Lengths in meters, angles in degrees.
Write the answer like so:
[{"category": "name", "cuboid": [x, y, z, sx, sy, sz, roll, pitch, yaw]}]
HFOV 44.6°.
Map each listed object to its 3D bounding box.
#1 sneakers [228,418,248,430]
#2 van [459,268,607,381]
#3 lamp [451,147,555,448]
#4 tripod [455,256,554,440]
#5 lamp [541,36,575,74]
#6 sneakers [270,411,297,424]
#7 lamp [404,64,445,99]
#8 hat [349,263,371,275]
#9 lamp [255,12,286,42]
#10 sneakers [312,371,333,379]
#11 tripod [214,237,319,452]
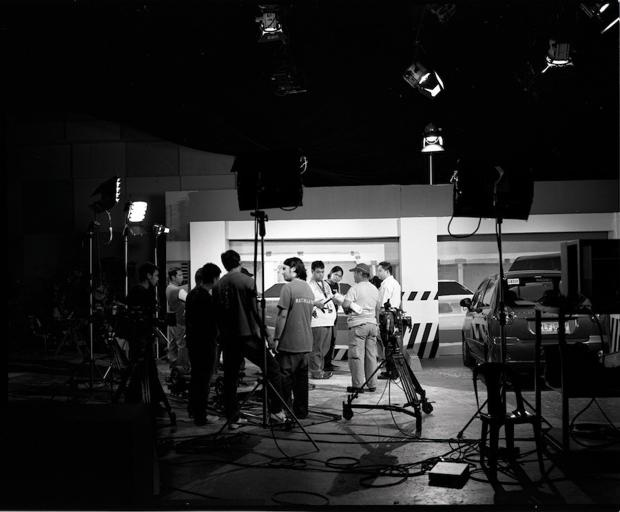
[{"category": "sneakers", "cuboid": [-0.925, 2.107, 9.556, 0.112, 0.148, 0.320, 7, 7, 28]}, {"category": "van", "cuboid": [3.202, 1.064, 11.212, 1.328, 1.331, 2.470, -1, 5, 7]}, {"category": "lamp", "cuboid": [2.203, 0.101, 9.415, 0.992, 2.552, 1.313, 4, 13, 19]}, {"category": "tripod", "cuboid": [3.414, 1.067, 12.377, 1.425, 1.717, 3.181, -2, 0, 2]}, {"category": "lamp", "cuboid": [3.632, -2.891, 11.022, 0.466, 0.462, 1.235, 4, 14, 18]}, {"category": "sneakers", "cuboid": [-0.350, 2.100, 9.794, 0.389, 0.190, 0.153, 0, -5, 1]}, {"category": "lamp", "cuboid": [1.674, -2.675, 11.250, 0.417, 0.224, 0.547, 28, 13, -33]}, {"category": "hat", "cuboid": [0.757, 0.154, 11.500, 0.259, 0.116, 0.197, 9, -7, 43]}, {"category": "lamp", "cuboid": [-0.540, -3.159, 10.417, 0.388, 0.371, 0.332, -2, 13, -9]}, {"category": "sneakers", "cuboid": [0.204, 2.043, 12.911, 0.386, 0.184, 0.134, -1, 2, -16]}, {"category": "tripod", "cuboid": [-0.838, 1.111, 9.629, 1.148, 2.180, 0.854, 9, 15, 36]}]
